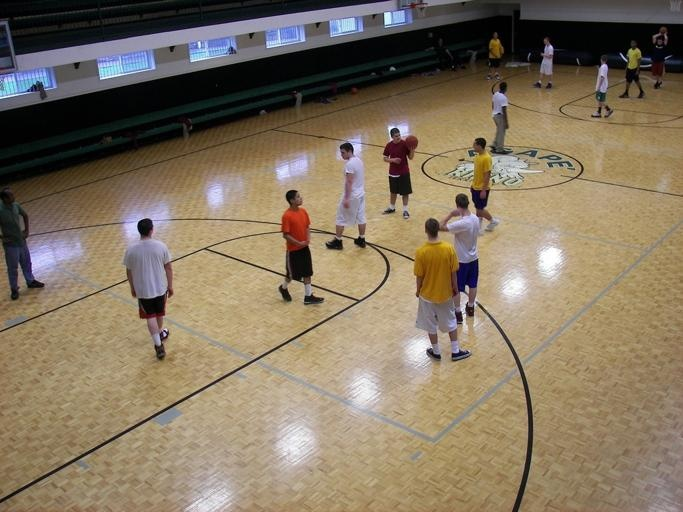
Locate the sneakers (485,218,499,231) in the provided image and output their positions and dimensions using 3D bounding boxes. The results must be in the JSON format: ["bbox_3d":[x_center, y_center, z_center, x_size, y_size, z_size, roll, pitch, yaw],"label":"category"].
[{"bbox_3d":[2.827,-0.570,10.311,0.349,0.142,0.118,-52,27,-12],"label":"sneakers"}]

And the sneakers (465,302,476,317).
[{"bbox_3d":[1.893,0.794,7.991,0.116,0.128,0.182,2,60,-3],"label":"sneakers"}]

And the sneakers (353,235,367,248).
[{"bbox_3d":[0.347,-0.254,9.992,0.124,0.182,0.254,-15,39,-21],"label":"sneakers"}]

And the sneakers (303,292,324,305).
[{"bbox_3d":[-0.438,0.677,8.466,0.306,0.173,0.135,-3,35,-3],"label":"sneakers"}]

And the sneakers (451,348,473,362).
[{"bbox_3d":[1.621,1.309,7.257,0.298,0.130,0.112,-19,31,-23],"label":"sneakers"}]

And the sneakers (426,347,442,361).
[{"bbox_3d":[1.225,1.312,7.264,0.095,0.097,0.222,-21,41,-27],"label":"sneakers"}]

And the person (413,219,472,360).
[{"bbox_3d":[1.260,0.476,6.910,0.715,1.953,0.397,-4,24,-3],"label":"person"}]

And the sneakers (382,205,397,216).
[{"bbox_3d":[0.982,-0.944,11.204,0.294,0.130,0.125,-2,24,-1],"label":"sneakers"}]

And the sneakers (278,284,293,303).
[{"bbox_3d":[-0.879,0.598,8.581,0.139,0.127,0.304,-22,55,-27],"label":"sneakers"}]

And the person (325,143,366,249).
[{"bbox_3d":[0.088,-1.075,9.738,0.664,1.929,0.607,-2,24,1],"label":"person"}]

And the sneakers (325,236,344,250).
[{"bbox_3d":[-0.123,-0.210,9.989,0.339,0.228,0.166,22,42,21],"label":"sneakers"}]

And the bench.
[{"bbox_3d":[-3.539,-5.035,18.455,15.030,2.109,1.251,-21,30,-38],"label":"bench"}]

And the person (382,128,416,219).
[{"bbox_3d":[1.118,-1.640,10.700,0.570,1.825,0.882,0,24,5],"label":"person"}]

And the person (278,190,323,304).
[{"bbox_3d":[-0.674,-0.137,8.293,0.674,1.819,0.567,-5,24,-7],"label":"person"}]

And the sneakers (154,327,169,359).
[{"bbox_3d":[-2.535,1.240,7.679,0.148,0.173,0.424,-2,38,-1],"label":"sneakers"}]

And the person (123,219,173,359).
[{"bbox_3d":[-2.521,0.475,7.275,0.578,1.942,0.343,-12,26,-20],"label":"person"}]
